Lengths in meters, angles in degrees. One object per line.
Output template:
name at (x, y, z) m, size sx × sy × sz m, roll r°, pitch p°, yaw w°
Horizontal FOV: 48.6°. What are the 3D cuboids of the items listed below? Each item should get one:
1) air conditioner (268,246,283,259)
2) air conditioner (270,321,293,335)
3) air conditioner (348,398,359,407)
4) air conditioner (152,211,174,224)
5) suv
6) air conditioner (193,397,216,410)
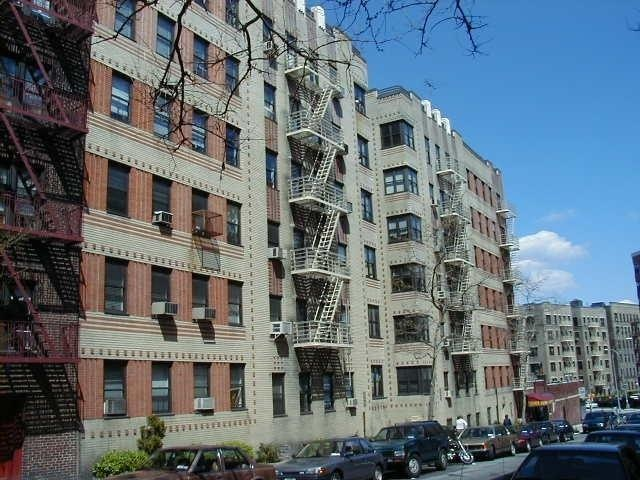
air conditioner at (-2.300, 0.664, 36.742) m, size 0.638 × 0.360 × 0.611 m, roll 8°, pitch -12°, yaw -39°
air conditioner at (-2.016, 4.672, 36.068) m, size 0.654 × 0.616 × 1.160 m, roll -9°, pitch -14°, yaw 34°
air conditioner at (1.798, 9.452, 40.872) m, size 0.584 × 0.327 × 0.555 m, roll 5°, pitch -12°, yaw -28°
air conditioner at (-6.907, -0.860, 31.131) m, size 0.546 × 0.574 × 1.015 m, roll -7°, pitch -11°, yaw 25°
suv at (3.901, 9.250, 31.214) m, size 1.736 × 2.404 × 3.929 m, roll -17°, pitch -24°, yaw 34°
air conditioner at (-5.093, 7.448, 31.416) m, size 0.565 × 0.592 × 1.048 m, roll -8°, pitch -14°, yaw 26°
